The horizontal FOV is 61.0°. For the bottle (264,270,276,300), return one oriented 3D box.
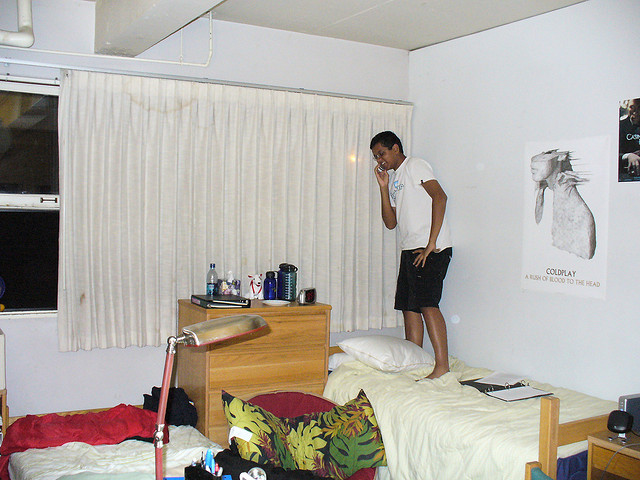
[{"bbox_3d":[-0.390,0.355,4.235,0.088,0.211,0.062,0,0,-7],"label":"bottle"}]

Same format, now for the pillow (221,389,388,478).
[{"bbox_3d":[-0.092,1.075,3.004,0.868,0.425,0.215,0,0,-11],"label":"pillow"}]

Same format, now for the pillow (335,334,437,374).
[{"bbox_3d":[0.532,0.895,4.216,0.757,0.252,0.765,1,-5,-21],"label":"pillow"}]

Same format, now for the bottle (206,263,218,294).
[{"bbox_3d":[-0.830,0.294,4.202,0.096,0.222,0.271,0,0,-11],"label":"bottle"}]

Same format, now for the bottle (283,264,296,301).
[{"bbox_3d":[-0.224,0.329,4.199,0.071,0.272,0.122,0,0,45],"label":"bottle"}]
